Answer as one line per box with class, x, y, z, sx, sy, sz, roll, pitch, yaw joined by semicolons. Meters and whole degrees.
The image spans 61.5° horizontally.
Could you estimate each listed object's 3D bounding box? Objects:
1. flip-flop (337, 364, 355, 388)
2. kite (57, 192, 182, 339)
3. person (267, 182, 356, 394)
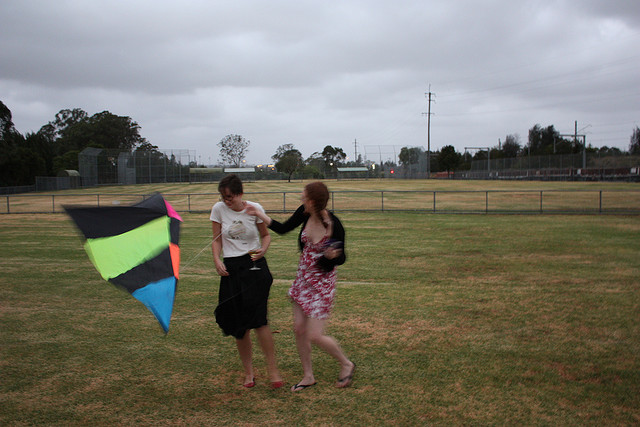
flip-flop;0.361;2.205;7.299;0.166;0.382;0.123;12;-2;-8
kite;-2.748;0.708;7.971;1.295;1.796;0.940;0;8;7
person;-0.076;0.973;7.222;0.822;2.771;0.465;-2;8;-6
